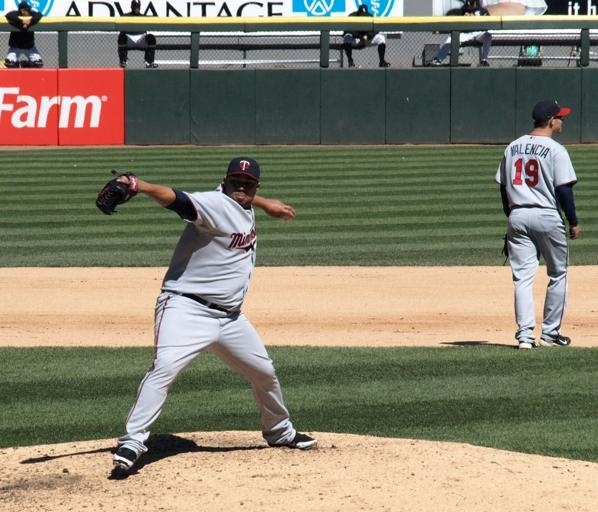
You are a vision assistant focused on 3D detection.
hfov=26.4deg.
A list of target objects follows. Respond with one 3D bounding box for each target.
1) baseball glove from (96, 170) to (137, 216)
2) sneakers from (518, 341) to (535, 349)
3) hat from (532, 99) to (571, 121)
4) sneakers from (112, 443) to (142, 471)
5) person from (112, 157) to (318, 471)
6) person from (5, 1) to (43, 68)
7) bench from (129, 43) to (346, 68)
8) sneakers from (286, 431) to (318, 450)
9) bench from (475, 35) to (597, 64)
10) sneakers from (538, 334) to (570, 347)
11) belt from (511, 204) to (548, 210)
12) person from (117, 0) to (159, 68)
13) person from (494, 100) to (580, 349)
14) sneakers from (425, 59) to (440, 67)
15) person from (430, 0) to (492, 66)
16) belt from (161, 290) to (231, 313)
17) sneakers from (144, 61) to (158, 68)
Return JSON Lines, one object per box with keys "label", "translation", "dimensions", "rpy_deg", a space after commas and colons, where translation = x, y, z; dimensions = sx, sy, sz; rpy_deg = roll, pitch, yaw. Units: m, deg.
{"label": "baseball glove", "translation": [-1.579, -0.524, 11.024], "dimensions": [0.306, 0.408, 0.202], "rpy_deg": [38, -12, -3]}
{"label": "sneakers", "translation": [2.370, 0.940, 13.484], "dimensions": [0.071, 0.072, 0.182], "rpy_deg": [0, -5, -2]}
{"label": "hat", "translation": [2.664, -1.528, 13.553], "dimensions": [0.374, 0.177, 0.256], "rpy_deg": [-8, 24, -6]}
{"label": "sneakers", "translation": [-1.493, 1.731, 11.040], "dimensions": [0.161, 0.141, 0.352], "rpy_deg": [-45, 0, 1]}
{"label": "person", "translation": [-0.838, 0.469, 11.277], "dimensions": [1.631, 2.672, 0.365], "rpy_deg": [-2, 4, -26]}
{"label": "person", "translation": [-5.271, -4.225, 24.463], "dimensions": [0.700, 1.270, 0.661], "rpy_deg": [-1, 4, -12]}
{"label": "bench", "translation": [-0.887, -3.938, 25.128], "dimensions": [3.642, 0.486, 0.721], "rpy_deg": [-2, -1, -5]}
{"label": "sneakers", "translation": [0.020, 1.705, 11.675], "dimensions": [0.296, 0.118, 0.120], "rpy_deg": [-1, -6, -4]}
{"label": "bench", "translation": [4.506, -4.015, 24.670], "dimensions": [1.716, 0.683, 0.427], "rpy_deg": [0, 4, 7]}
{"label": "sneakers", "translation": [2.698, 0.910, 13.583], "dimensions": [0.333, 0.137, 0.122], "rpy_deg": [-1, 31, 1]}
{"label": "belt", "translation": [2.378, -0.520, 13.351], "dimensions": [0.335, 0.045, 0.071], "rpy_deg": [1, 4, 13]}
{"label": "person", "translation": [-3.086, -3.952, 24.443], "dimensions": [0.741, 0.692, 0.257], "rpy_deg": [-1, 4, -7]}
{"label": "person", "translation": [2.483, -0.329, 13.443], "dimensions": [0.830, 2.614, 0.387], "rpy_deg": [0, 4, 8]}
{"label": "sneakers", "translation": [2.572, -3.734, 24.632], "dimensions": [0.308, 0.122, 0.161], "rpy_deg": [-6, -16, 16]}
{"label": "person", "translation": [3.373, -4.474, 25.610], "dimensions": [1.050, 1.481, 2.594], "rpy_deg": [1, 4, 13]}
{"label": "belt", "translation": [-0.850, 0.400, 11.198], "dimensions": [0.333, 0.057, 0.265], "rpy_deg": [16, -6, 21]}
{"label": "sneakers", "translation": [-2.846, -3.669, 24.492], "dimensions": [0.320, 0.136, 0.087], "rpy_deg": [-2, 14, -10]}
